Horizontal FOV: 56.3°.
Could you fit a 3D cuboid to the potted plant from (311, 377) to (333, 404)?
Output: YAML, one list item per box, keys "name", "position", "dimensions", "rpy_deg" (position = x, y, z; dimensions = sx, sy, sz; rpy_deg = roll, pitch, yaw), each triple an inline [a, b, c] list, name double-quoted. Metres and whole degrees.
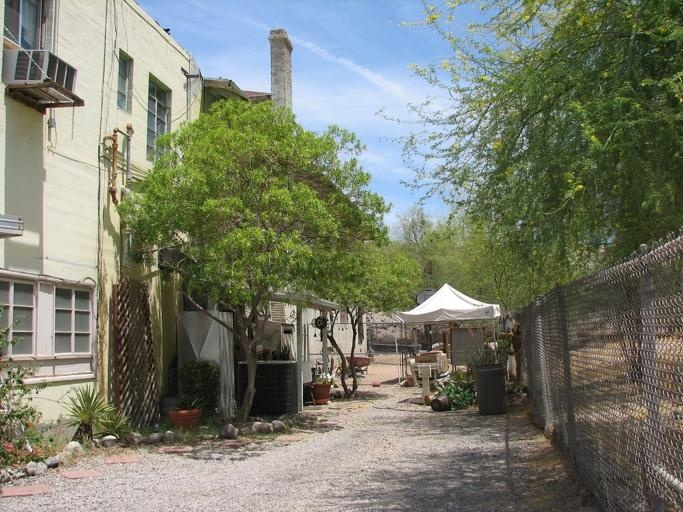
- name: "potted plant"
  position: [-0.580, 3.768, 17.787]
  dimensions: [0.489, 0.468, 0.510]
  rpy_deg: [1, -4, -32]

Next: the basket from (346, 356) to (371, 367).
- name: "basket"
  position: [0.703, 4.145, 25.067]
  dimensions: [0.885, 0.410, 0.968]
  rpy_deg: [-8, -12, 30]

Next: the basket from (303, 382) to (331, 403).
- name: "basket"
  position: [-0.680, 3.801, 17.579]
  dimensions: [0.486, 0.441, 0.559]
  rpy_deg: [2, -15, -11]

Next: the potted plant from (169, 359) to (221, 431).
- name: "potted plant"
  position: [-2.983, 2.852, 13.138]
  dimensions: [1.113, 2.199, 0.981]
  rpy_deg: [2, -6, -22]

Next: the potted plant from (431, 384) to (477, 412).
- name: "potted plant"
  position: [2.775, 3.498, 15.654]
  dimensions: [0.635, 0.486, 0.689]
  rpy_deg: [-9, 1, 42]
